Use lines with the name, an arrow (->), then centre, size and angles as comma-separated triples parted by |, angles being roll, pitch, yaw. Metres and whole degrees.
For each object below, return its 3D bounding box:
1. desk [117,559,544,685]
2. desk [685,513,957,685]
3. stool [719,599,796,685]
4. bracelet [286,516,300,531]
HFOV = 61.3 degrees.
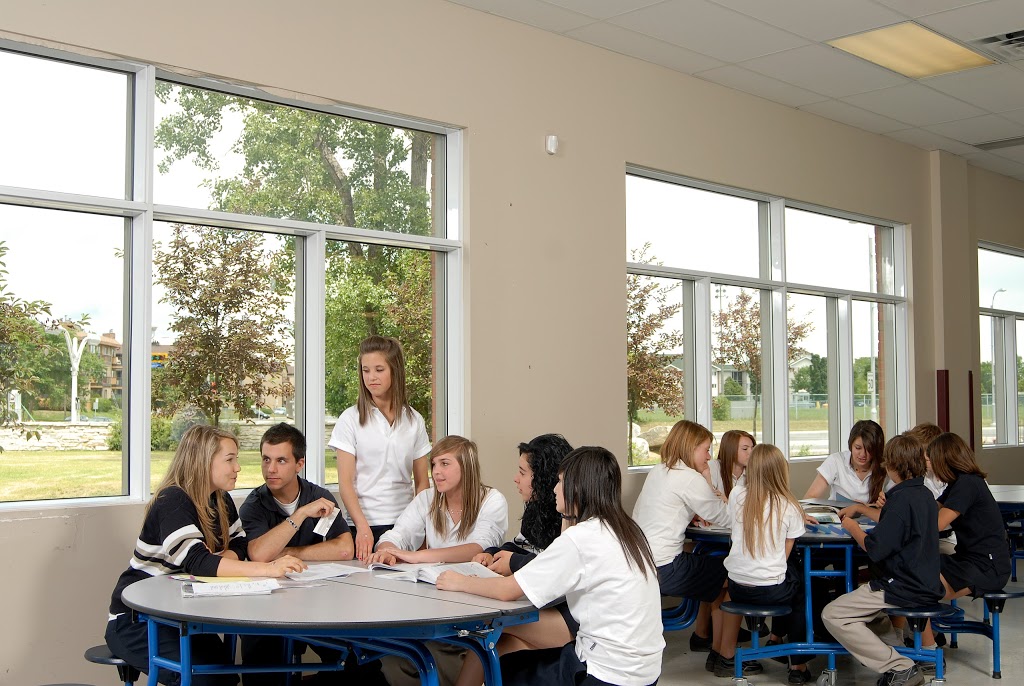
desk -> -0.879, 1.376, 4.015 | 1.944, 0.447, 0.666 | 0, -5, 1
desk -> 2.028, 1.785, 5.966 | 1.587, 1.048, 1.166 | 0, -4, 1
stool -> 1.633, 1.985, 5.871 | 0.617, 0.503, 0.621 | -1, -12, 9
bracelet -> -1.205, 0.983, 4.736 | 0.066, 0.067, 0.019 | 45, -29, -7
